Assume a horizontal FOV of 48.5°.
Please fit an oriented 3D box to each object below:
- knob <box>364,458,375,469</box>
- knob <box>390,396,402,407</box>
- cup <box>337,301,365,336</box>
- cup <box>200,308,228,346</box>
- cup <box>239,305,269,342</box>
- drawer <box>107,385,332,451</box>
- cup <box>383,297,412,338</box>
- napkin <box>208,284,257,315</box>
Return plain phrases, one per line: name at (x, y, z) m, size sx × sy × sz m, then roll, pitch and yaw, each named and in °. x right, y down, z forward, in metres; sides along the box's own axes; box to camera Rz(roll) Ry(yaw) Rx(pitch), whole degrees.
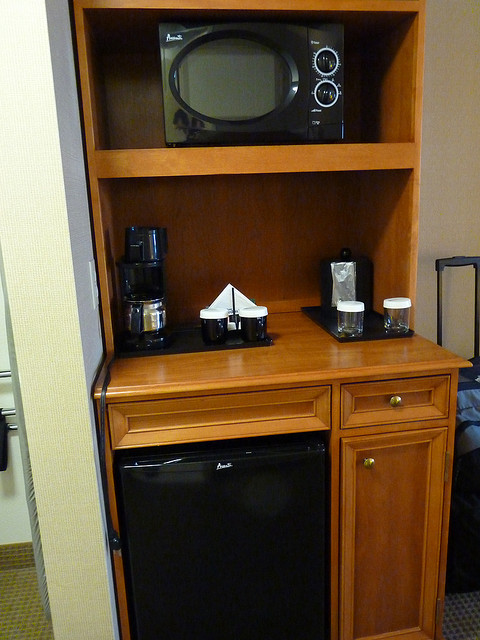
knob at (0.298, 0.332, 1.234) m, size 0.020 × 0.018 × 0.023 m, roll -2°, pitch -2°, yaw 31°
knob at (0.356, 0.187, 1.223) m, size 0.021 × 0.017 × 0.020 m, roll 7°, pitch -13°, yaw -31°
cup at (0.288, -0.003, 1.400) m, size 0.069 × 0.090 × 0.078 m, roll -1°, pitch 13°, yaw -1°
cup at (-0.062, 0.012, 1.397) m, size 0.078 × 0.091 × 0.080 m, roll -3°, pitch 11°, yaw 1°
cup at (0.037, 0.008, 1.429) m, size 0.073 × 0.088 × 0.081 m, roll -4°, pitch 13°, yaw -13°
drawer at (-0.041, 0.226, 1.227) m, size 0.493 × 0.174 × 0.120 m, roll -6°, pitch 11°, yaw -8°
cup at (0.410, -0.008, 1.391) m, size 0.067 × 0.105 × 0.062 m, roll -3°, pitch 18°, yaw 1°
napkin at (-0.023, -0.056, 1.490) m, size 0.123 × 0.086 × 0.053 m, roll -7°, pitch 11°, yaw -14°
